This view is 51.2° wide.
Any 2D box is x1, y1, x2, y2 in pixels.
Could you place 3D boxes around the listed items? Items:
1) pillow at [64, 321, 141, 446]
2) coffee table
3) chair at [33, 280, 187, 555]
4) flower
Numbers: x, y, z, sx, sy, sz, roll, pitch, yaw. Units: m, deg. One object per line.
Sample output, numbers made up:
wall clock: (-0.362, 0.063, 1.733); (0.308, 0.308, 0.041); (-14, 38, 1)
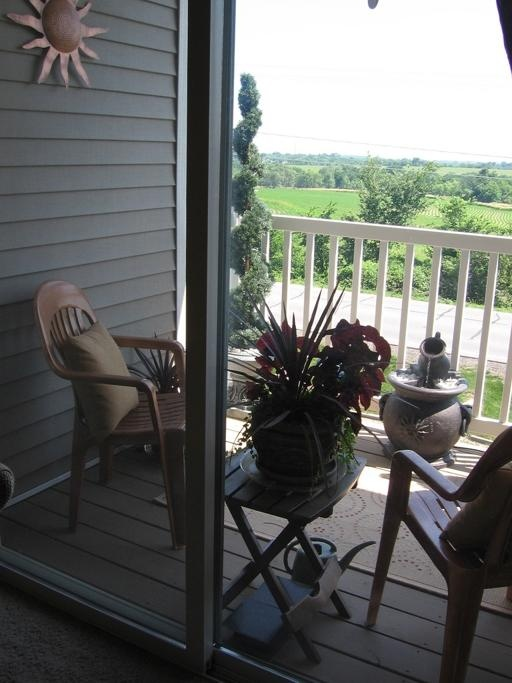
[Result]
pillow: (-0.516, 0.115, 1.821); (0.185, 0.331, 0.375); (4, 12, -3)
coffee table: (0.086, 0.428, 1.400); (0.442, 0.497, 0.360); (8, 21, 25)
chair: (-0.432, 0.215, 1.796); (0.520, 0.761, 0.447); (5, 14, 4)
flower: (0.114, 0.105, 1.131); (0.362, 0.371, 0.375); (-3, 23, 22)
